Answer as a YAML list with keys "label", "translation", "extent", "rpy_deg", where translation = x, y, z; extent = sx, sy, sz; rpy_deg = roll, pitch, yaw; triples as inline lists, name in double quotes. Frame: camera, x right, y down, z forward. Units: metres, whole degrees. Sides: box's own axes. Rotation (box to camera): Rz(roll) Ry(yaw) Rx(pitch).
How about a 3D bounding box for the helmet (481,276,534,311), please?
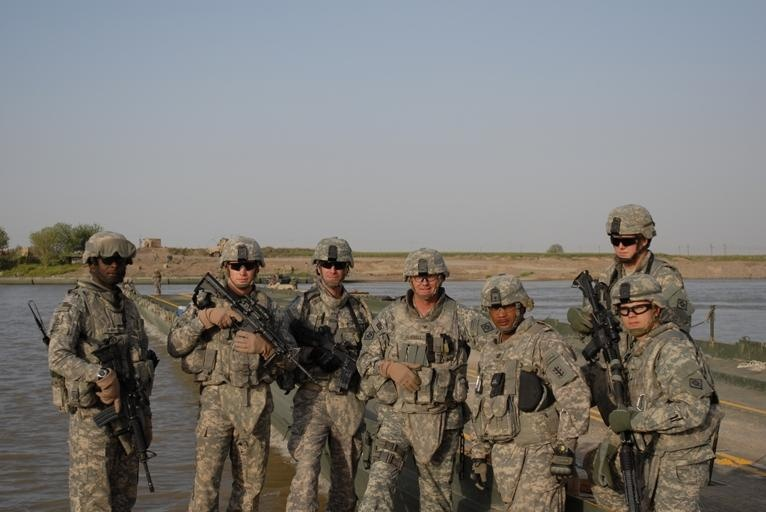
- label: "helmet"
  translation: [1.492, 0.438, 9.432]
  extent: [0.475, 0.319, 0.475]
  rpy_deg: [0, 13, 18]

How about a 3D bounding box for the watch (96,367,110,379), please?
- label: "watch"
  translation: [-3.305, 1.386, 9.212]
  extent: [0.114, 0.114, 0.041]
  rpy_deg: [3, 0, 3]

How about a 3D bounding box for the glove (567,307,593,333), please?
- label: "glove"
  translation: [2.449, 0.767, 9.849]
  extent: [0.119, 0.228, 0.383]
  rpy_deg: [-19, 40, -42]

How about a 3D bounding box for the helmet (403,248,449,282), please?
- label: "helmet"
  translation: [0.546, 0.083, 10.086]
  extent: [0.433, 0.284, 0.449]
  rpy_deg: [-3, -19, 5]

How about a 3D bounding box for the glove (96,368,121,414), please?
- label: "glove"
  translation: [-3.278, 1.599, 9.298]
  extent: [0.260, 0.540, 0.129]
  rpy_deg: [-3, 7, -21]

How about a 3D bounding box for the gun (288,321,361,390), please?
- label: "gun"
  translation: [-0.783, 1.342, 10.282]
  extent: [1.220, 0.552, 0.255]
  rpy_deg: [34, 4, 26]
